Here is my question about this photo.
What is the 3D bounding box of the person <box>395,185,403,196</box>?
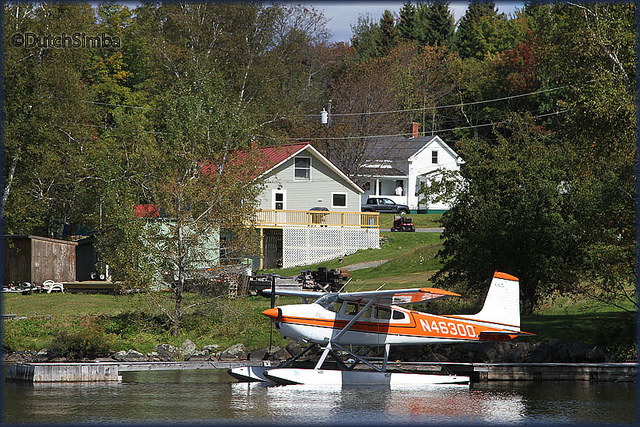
[{"bbox_3d":[6.989,-2.049,111.065,0.598,1.085,1.206,-1,-7,10],"label":"person"}]

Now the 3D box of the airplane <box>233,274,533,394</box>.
[{"bbox_3d":[3.797,6.880,71.438,16.271,6.380,11.689,-1,-7,8],"label":"airplane"}]

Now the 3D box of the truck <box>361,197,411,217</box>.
[{"bbox_3d":[5.553,-0.623,105.634,3.702,1.418,1.702,-2,3,-6],"label":"truck"}]

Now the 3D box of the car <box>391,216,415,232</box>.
[{"bbox_3d":[6.376,0.747,96.850,1.077,1.031,1.653,0,-3,-30],"label":"car"}]
